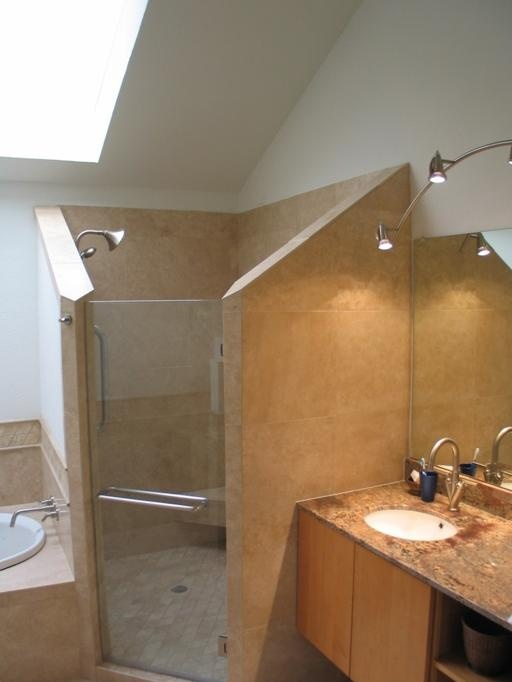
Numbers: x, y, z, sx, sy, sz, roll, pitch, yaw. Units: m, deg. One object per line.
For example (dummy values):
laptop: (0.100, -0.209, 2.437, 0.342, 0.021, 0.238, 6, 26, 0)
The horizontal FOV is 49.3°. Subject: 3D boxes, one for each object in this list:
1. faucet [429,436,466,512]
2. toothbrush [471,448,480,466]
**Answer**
faucet: (0.655, 0.459, 1.912, 0.092, 0.268, 0.085, -2, 13, 5)
toothbrush: (0.751, 0.395, 1.906, 0.008, 0.059, 0.039, 0, 0, -8)
